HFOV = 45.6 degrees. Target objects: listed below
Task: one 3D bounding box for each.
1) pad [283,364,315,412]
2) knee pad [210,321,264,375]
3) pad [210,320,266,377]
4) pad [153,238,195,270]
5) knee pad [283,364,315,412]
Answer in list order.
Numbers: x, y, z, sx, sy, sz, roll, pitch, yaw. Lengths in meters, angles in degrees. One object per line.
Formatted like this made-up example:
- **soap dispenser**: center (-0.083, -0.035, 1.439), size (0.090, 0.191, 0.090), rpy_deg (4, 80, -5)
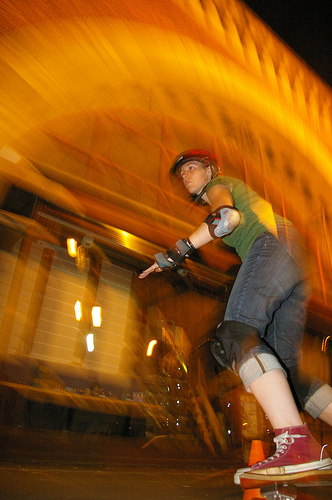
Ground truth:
- **pad**: center (0.558, 0.570, 1.672), size (0.152, 0.193, 0.075), rpy_deg (-5, 10, 44)
- **knee pad**: center (0.240, 0.386, 1.524), size (0.238, 0.208, 0.172), rpy_deg (3, -25, 3)
- **pad**: center (0.233, 0.379, 1.562), size (0.243, 0.213, 0.172), rpy_deg (10, -44, -15)
- **pad**: center (0.031, 0.028, 1.996), size (0.166, 0.092, 0.066), rpy_deg (-28, -38, -10)
- **knee pad**: center (0.582, 0.580, 1.673), size (0.102, 0.187, 0.070), rpy_deg (-14, -33, 11)
